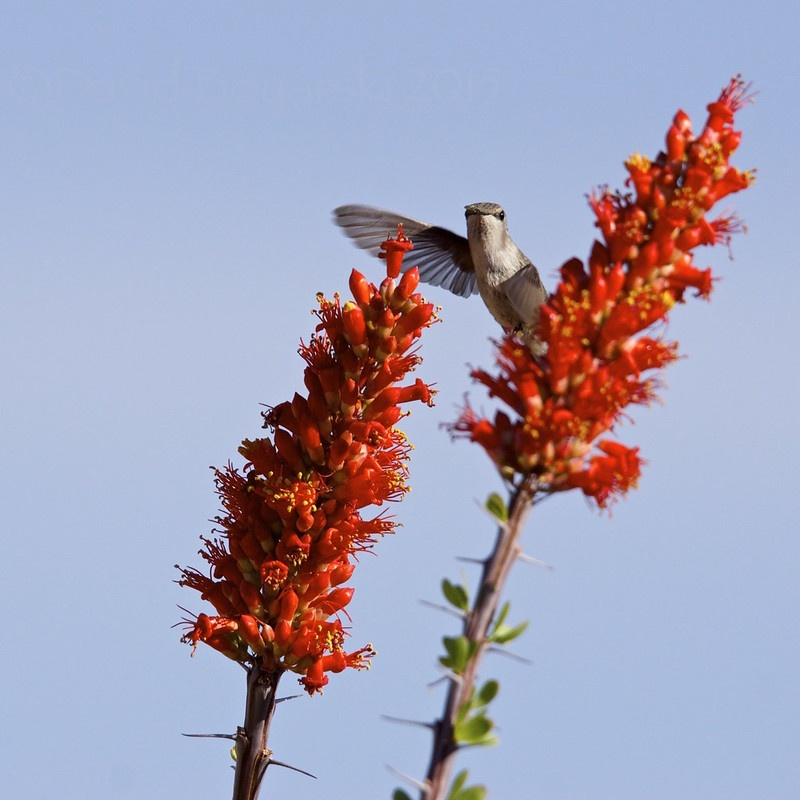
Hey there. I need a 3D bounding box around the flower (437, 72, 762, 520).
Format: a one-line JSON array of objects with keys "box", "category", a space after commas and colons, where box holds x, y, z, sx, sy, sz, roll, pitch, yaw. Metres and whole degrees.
[{"box": [0.730, -0.373, 7.041, 0.594, 1.386, 1.051, 27, -45, -17], "category": "flower"}]
